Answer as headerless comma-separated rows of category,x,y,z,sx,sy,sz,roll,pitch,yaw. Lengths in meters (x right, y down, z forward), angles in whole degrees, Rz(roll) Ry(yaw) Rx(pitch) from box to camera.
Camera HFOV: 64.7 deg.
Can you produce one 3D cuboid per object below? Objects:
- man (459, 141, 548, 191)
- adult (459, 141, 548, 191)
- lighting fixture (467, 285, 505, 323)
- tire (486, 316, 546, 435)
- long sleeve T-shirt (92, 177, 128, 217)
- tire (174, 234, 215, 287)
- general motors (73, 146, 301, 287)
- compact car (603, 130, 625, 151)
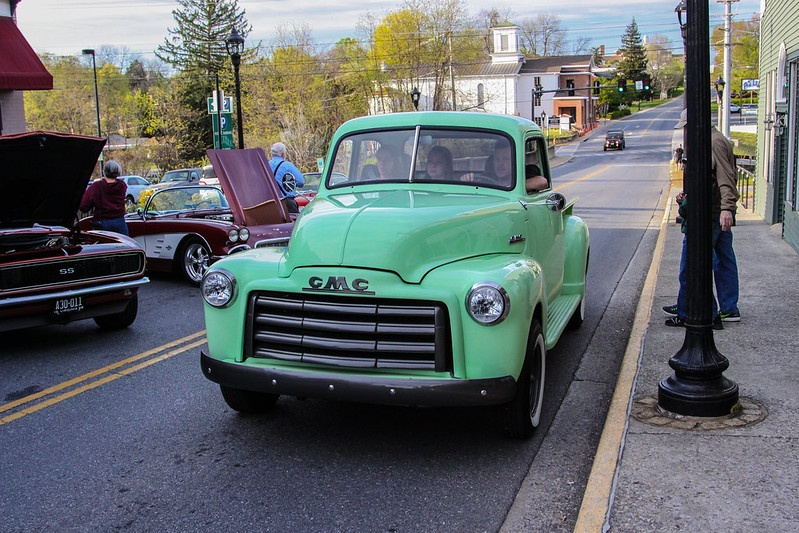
man,1.175,-0.992,6.628,0.955,0.384,0.697,-5,24,3
adult,1.174,-0.968,6.696,0.522,0.291,0.734,0,-1,22
lighting fixture,0.680,0.301,5.034,0.283,0.286,0.066,1,1,0
tire,0.975,0.894,5.326,0.252,0.799,0.803,3,33,14
long sleeve T-shirt,-5.160,-1.216,11.272,0.675,0.644,0.412,-3,-3,-21
tire,-3.538,-0.161,10.957,0.762,0.777,0.279,-17,0,22
general motors,-3.609,-0.914,12.520,4.272,2.042,2.448,0,7,38
compact car,23.982,-13.914,70.802,1.867,1.841,3.731,0,5,23
